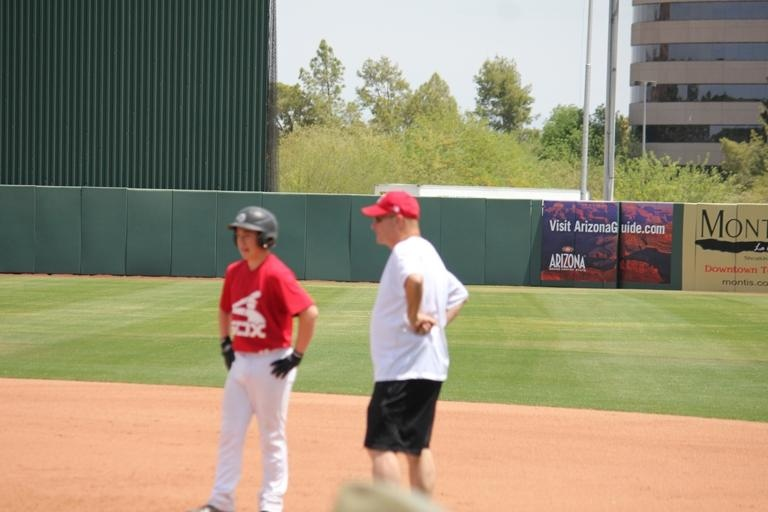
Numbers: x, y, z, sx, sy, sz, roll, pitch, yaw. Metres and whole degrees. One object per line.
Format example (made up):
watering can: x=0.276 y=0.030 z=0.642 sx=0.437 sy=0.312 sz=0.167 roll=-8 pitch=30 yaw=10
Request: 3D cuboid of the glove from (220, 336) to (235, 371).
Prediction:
glove: x=-3.558 y=2.238 z=27.016 sx=0.193 sy=0.661 sz=0.475 roll=-9 pitch=5 yaw=-7
